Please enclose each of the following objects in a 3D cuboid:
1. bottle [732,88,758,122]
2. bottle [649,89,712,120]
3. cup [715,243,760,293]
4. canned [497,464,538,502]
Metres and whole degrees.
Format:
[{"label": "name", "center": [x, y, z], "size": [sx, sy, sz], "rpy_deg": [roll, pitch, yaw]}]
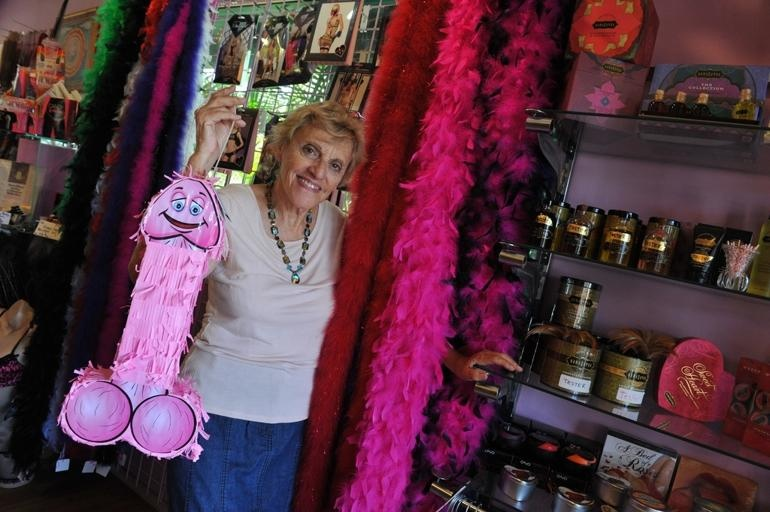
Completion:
[{"label": "bottle", "center": [1.092, -0.455, 1.690], "size": [0.068, 0.112, 0.054], "rpy_deg": [11, 4, 30]}, {"label": "bottle", "center": [0.918, -0.463, 1.740], "size": [0.124, 0.076, 0.125], "rpy_deg": [8, 14, -2]}, {"label": "cup", "center": [1.096, 0.029, 1.724], "size": [0.116, 0.175, 0.051], "rpy_deg": [9, 3, -8]}, {"label": "canned", "center": [0.442, 0.754, 1.849], "size": [0.100, 0.063, 0.105], "rpy_deg": [10, 17, 4]}]
